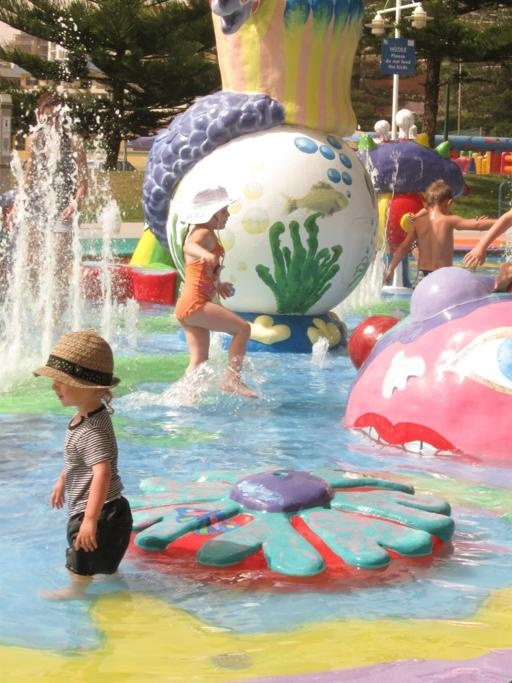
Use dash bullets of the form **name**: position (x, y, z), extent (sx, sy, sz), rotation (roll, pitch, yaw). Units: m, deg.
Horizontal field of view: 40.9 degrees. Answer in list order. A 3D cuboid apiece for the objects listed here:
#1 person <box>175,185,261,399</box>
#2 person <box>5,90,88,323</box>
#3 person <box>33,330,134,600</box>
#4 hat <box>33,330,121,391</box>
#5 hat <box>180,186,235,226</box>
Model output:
- **person**: position (-0.256, -0.333, 4.484), extent (0.530, 1.374, 0.476), rotation (2, 6, -6)
- **person**: position (-1.892, -1.248, 6.496), extent (0.490, 2.095, 0.801), rotation (-3, 9, -41)
- **person**: position (-0.479, 0.328, 1.932), extent (0.276, 0.700, 0.364), rotation (1, 7, -17)
- **hat**: position (-0.516, 0.053, 1.952), extent (0.203, 0.106, 0.181), rotation (5, 0, 28)
- **hat**: position (-0.328, -0.887, 4.503), extent (0.314, 0.095, 0.291), rotation (-29, 22, 9)
